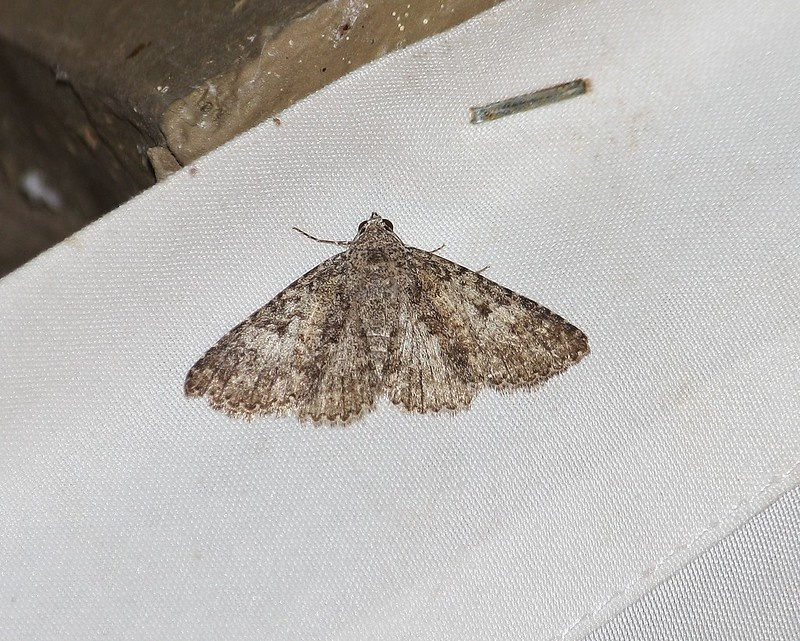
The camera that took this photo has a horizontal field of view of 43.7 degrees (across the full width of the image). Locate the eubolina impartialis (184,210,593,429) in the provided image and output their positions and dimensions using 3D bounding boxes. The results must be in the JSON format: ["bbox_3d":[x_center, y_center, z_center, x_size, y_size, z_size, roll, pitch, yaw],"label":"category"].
[{"bbox_3d":[-0.036,0.034,1.443,0.514,0.128,0.315,0,76,4],"label":"eubolina impartialis"}]
